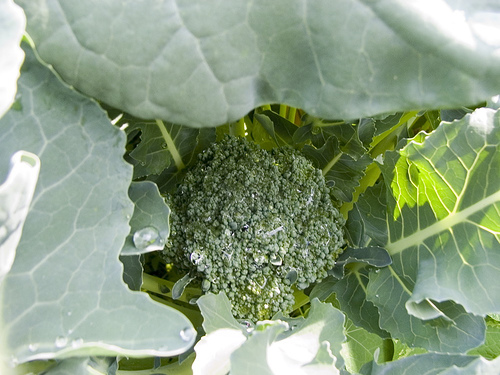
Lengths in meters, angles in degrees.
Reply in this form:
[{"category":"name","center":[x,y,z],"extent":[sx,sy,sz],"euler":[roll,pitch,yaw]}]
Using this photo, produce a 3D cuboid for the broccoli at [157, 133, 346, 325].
[{"category":"broccoli","center":[-0.036,0.013,1.057],"extent":[0.445,0.467,0.171],"euler":[-5,46,-14]}]
